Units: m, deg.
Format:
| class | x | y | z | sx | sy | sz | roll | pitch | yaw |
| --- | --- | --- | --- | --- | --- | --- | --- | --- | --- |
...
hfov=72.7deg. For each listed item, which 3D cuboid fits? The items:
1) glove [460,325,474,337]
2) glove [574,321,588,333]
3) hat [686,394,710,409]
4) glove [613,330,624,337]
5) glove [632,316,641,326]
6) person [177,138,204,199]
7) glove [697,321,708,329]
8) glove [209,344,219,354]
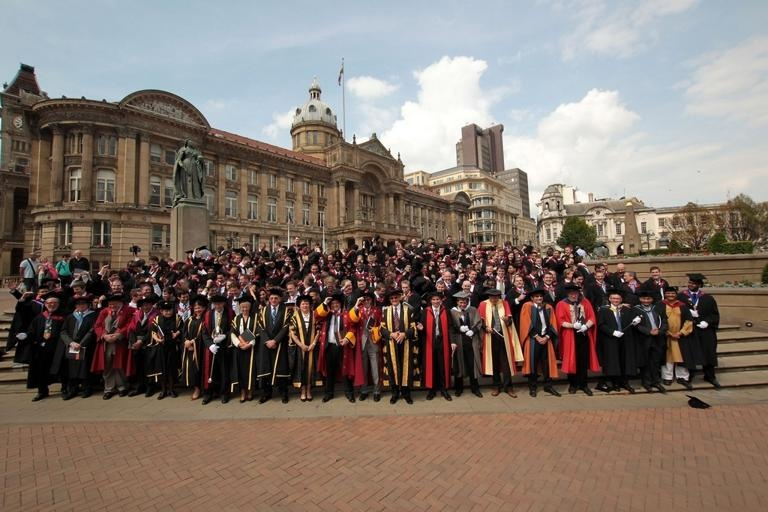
| class | x | y | z | sx | sy | sz | roll | pitch | yaw |
| --- | --- | --- | --- | --- | --- | --- | --- | --- | --- |
| glove | 2.366 | 2.135 | 14.948 | 0.269 | 0.156 | 0.353 | 10 | -2 | 16 |
| glove | 5.652 | 2.036 | 15.042 | 0.352 | 0.260 | 0.162 | 4 | 16 | -16 |
| hat | 8.627 | 4.003 | 14.333 | 0.217 | 0.266 | 0.725 | 4 | 1 | -36 |
| glove | 6.814 | 2.236 | 15.139 | 0.310 | 0.221 | 0.120 | 1 | -6 | -26 |
| glove | 7.365 | 1.878 | 15.211 | 0.185 | 0.208 | 0.272 | 13 | 24 | 26 |
| person | -9.007 | -4.051 | 24.267 | 0.959 | 3.105 | 1.297 | -7 | -8 | 44 |
| glove | 9.365 | 1.999 | 15.303 | 0.278 | 0.224 | 0.113 | -1 | -6 | -5 |
| glove | -4.921 | 2.657 | 15.043 | 0.240 | 0.266 | 0.164 | -1 | -6 | -5 |
